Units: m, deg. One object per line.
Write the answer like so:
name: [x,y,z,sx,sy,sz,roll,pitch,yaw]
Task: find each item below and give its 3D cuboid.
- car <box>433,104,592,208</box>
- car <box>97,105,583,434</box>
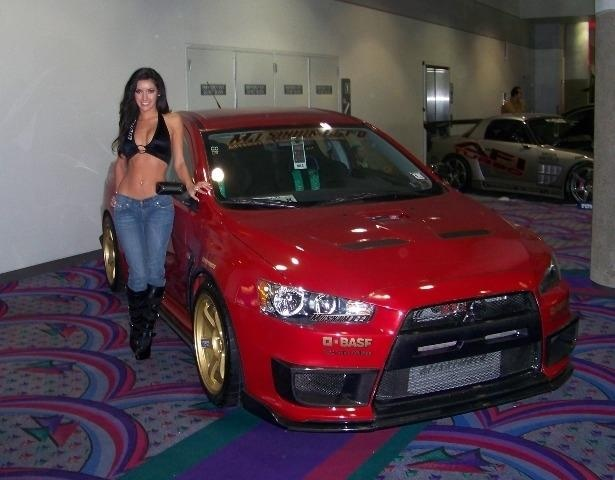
car: [4.406,-1.850,8.649,3.003,1.065,1.683,11,18,40]
car: [-0.143,-0.039,2.653,1.560,1.047,2.863,-9,20,-27]
